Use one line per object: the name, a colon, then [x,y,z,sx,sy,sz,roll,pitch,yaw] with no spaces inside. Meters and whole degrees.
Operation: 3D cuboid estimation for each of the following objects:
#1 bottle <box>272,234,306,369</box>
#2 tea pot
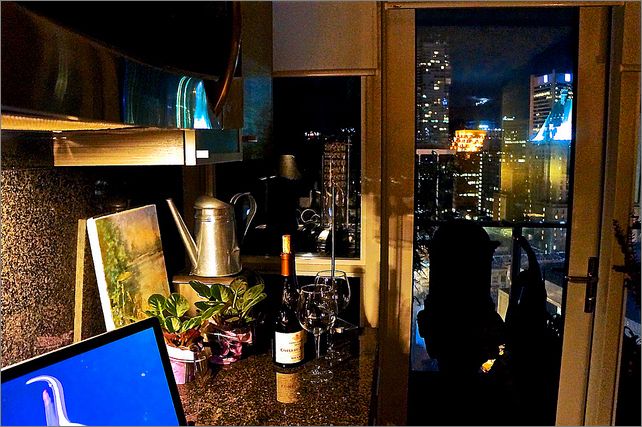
bottle: [-0.118,0.275,1.789,0.112,0.418,0.355,-2,7,-3]
tea pot: [-0.387,0.040,1.904,0.422,0.353,0.253,-4,6,-39]
